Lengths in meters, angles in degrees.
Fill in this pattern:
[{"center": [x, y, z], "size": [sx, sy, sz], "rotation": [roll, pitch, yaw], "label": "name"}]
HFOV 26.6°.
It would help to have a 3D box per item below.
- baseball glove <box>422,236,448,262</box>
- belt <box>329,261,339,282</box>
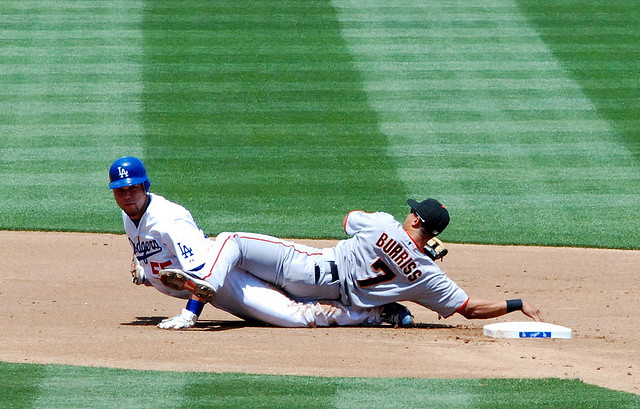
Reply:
[{"center": [1.763, 0.679, 21.734], "size": [0.580, 0.378, 0.195], "rotation": [9, 24, -41], "label": "baseball glove"}, {"center": [0.239, 1.056, 21.587], "size": [0.100, 0.236, 0.197], "rotation": [-14, 13, -42], "label": "belt"}]
